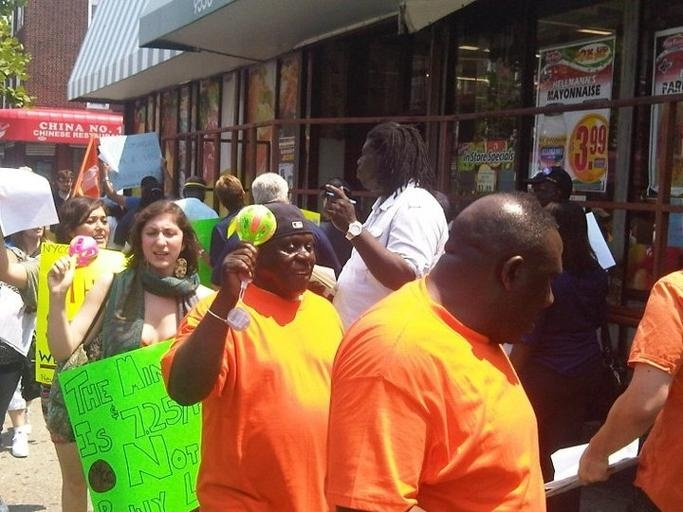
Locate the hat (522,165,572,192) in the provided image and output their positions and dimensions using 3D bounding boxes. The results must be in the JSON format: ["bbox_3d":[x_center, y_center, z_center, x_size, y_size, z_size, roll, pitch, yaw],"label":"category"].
[{"bbox_3d":[1.647,-0.598,5.074,0.272,0.185,0.218,6,1,6],"label":"hat"}]

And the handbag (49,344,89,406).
[{"bbox_3d":[-1.707,0.753,4.039,0.226,0.432,0.405,0,7,-25],"label":"handbag"}]

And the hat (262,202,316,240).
[{"bbox_3d":[-0.252,-0.171,3.086,0.263,0.165,0.203,2,6,-17],"label":"hat"}]

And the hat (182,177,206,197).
[{"bbox_3d":[-2.132,-0.998,9.255,0.307,0.382,0.282,6,7,24],"label":"hat"}]
